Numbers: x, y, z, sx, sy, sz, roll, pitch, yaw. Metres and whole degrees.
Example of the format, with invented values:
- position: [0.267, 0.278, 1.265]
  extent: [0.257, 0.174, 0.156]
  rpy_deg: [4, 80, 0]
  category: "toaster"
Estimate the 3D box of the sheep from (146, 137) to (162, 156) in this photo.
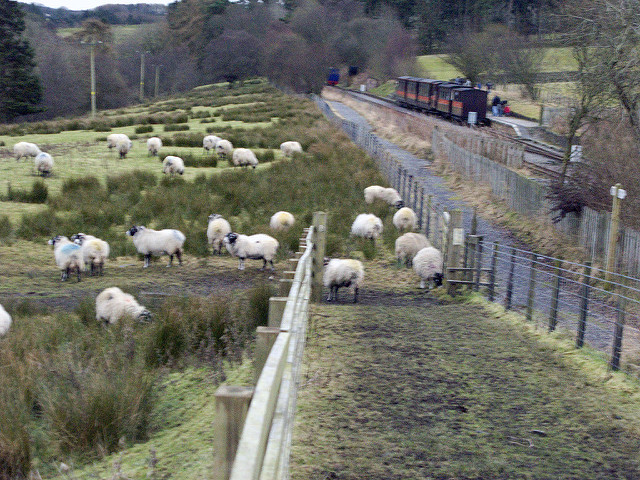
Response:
- position: [-8.222, -4.547, 50.029]
  extent: [0.608, 0.850, 1.250]
  rpy_deg: [-4, 10, -13]
  category: "sheep"

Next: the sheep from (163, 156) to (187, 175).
- position: [-6.474, -3.202, 44.505]
  extent: [0.855, 0.794, 0.483]
  rpy_deg: [-4, 11, -14]
  category: "sheep"

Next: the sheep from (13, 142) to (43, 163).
- position: [-13.603, -4.023, 46.938]
  extent: [1.101, 0.877, 1.208]
  rpy_deg: [-4, 10, -15]
  category: "sheep"

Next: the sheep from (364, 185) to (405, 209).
- position: [2.624, -1.701, 41.820]
  extent: [1.631, 0.750, 0.796]
  rpy_deg: [25, 12, 11]
  category: "sheep"

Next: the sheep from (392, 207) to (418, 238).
- position: [3.146, -0.667, 37.958]
  extent: [0.694, 0.647, 1.257]
  rpy_deg: [1, 6, 7]
  category: "sheep"

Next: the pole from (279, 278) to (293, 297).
- position: [-0.937, 1.257, 26.661]
  extent: [0.657, 0.504, 0.430]
  rpy_deg: [1, 3, 1]
  category: "pole"

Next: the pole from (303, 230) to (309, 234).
- position: [-0.456, -0.224, 31.126]
  extent: [0.149, 0.118, 0.073]
  rpy_deg: [1, 2, 5]
  category: "pole"

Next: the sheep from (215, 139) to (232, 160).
- position: [-4.867, -4.462, 50.656]
  extent: [0.702, 0.902, 1.442]
  rpy_deg: [-2, 9, -3]
  category: "sheep"

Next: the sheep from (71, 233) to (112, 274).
- position: [-7.560, 0.438, 33.824]
  extent: [0.872, 1.100, 2.436]
  rpy_deg: [0, 10, -22]
  category: "sheep"

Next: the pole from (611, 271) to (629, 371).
- position: [8.333, 2.162, 28.027]
  extent: [0.253, 3.023, 0.218]
  rpy_deg: [-3, 12, -20]
  category: "pole"

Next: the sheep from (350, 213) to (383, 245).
- position: [1.682, -0.419, 37.485]
  extent: [0.840, 0.752, 1.435]
  rpy_deg: [4, -2, -2]
  category: "sheep"

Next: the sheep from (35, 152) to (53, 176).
- position: [-11.817, -3.174, 43.278]
  extent: [0.674, 0.922, 0.794]
  rpy_deg: [-4, 10, -13]
  category: "sheep"

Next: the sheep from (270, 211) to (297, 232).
- position: [-1.414, -0.627, 36.948]
  extent: [0.832, 0.687, 0.536]
  rpy_deg: [-2, 10, -3]
  category: "sheep"

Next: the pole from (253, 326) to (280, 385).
- position: [-1.366, 2.758, 24.293]
  extent: [0.539, 1.226, 0.617]
  rpy_deg: [3, 17, 3]
  category: "pole"

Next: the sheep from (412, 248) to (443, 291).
- position: [3.529, 0.992, 33.098]
  extent: [0.921, 1.307, 0.552]
  rpy_deg: [-1, 11, 3]
  category: "sheep"

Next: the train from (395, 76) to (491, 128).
- position: [8.835, -10.417, 75.903]
  extent: [4.873, 3.363, 21.887]
  rpy_deg: [-1, 9, 0]
  category: "train"

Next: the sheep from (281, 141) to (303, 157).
- position: [-1.525, -4.608, 52.123]
  extent: [1.151, 0.646, 0.880]
  rpy_deg: [-8, 12, -35]
  category: "sheep"

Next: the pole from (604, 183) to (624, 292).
- position: [9.704, 0.073, 33.454]
  extent: [0.597, 3.725, 0.613]
  rpy_deg: [0, 18, -7]
  category: "pole"

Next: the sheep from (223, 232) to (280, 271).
- position: [-2.272, 0.431, 34.382]
  extent: [2.113, 1.093, 0.950]
  rpy_deg: [6, 1, 12]
  category: "sheep"
